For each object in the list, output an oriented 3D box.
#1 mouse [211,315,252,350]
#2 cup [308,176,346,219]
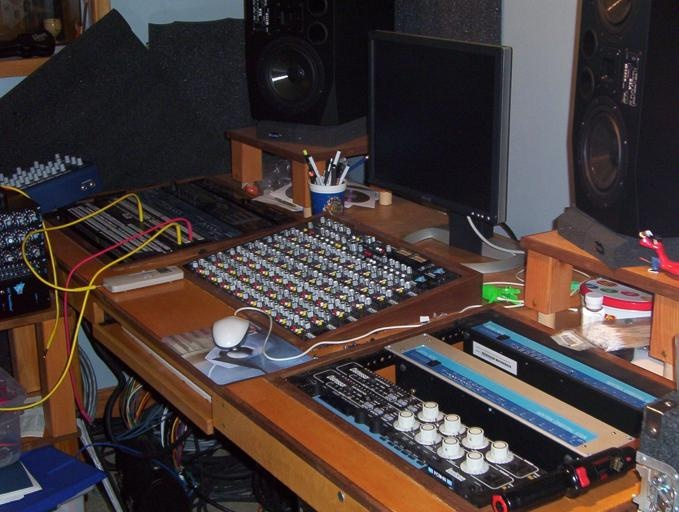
[{"bbox_3d":[-0.242,0.165,1.309,0.095,0.029,0.099,-7,42,-1],"label":"mouse"},{"bbox_3d":[-0.042,-0.207,2.060,0.133,0.124,0.124,0,26,0],"label":"cup"}]
